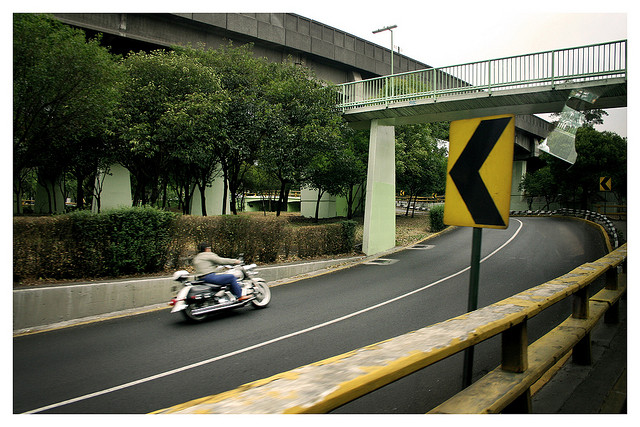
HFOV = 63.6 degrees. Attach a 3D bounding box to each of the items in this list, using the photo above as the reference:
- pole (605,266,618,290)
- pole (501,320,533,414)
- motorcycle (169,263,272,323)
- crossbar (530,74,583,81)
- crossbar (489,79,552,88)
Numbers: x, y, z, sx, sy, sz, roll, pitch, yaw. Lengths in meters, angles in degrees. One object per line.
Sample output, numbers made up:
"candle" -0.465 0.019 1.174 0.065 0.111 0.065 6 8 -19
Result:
"pole" 7.387 1.633 13.062 0.283 0.603 0.231 3 10 22
"pole" 3.798 2.999 9.943 0.624 1.800 0.507 0 10 9
"motorcycle" -2.908 2.206 15.824 3.229 1.771 1.361 -5 -6 -42
"crossbar" 9.446 -5.454 20.604 1.832 0.166 0.297 3 10 22
"crossbar" 8.224 -5.379 21.271 2.337 0.212 0.157 4 11 29
